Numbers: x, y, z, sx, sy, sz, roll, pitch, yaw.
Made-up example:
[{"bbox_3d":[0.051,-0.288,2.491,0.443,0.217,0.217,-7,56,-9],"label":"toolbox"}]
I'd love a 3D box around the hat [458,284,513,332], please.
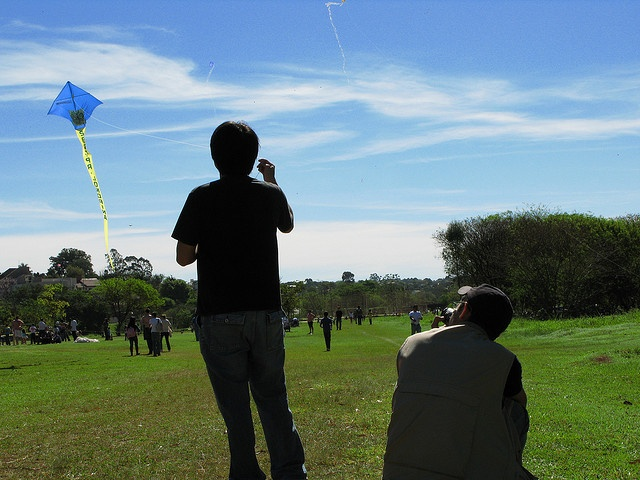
[{"bbox_3d":[1.358,0.491,4.184,0.321,0.439,0.244,1,-46,-41],"label":"hat"}]

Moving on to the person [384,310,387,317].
[{"bbox_3d":[14.182,15.840,109.927,0.711,1.339,1.289,9,-10,6],"label":"person"}]

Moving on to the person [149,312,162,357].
[{"bbox_3d":[-7.807,4.459,24.307,0.534,1.994,1.475,-2,-6,-18],"label":"person"}]
